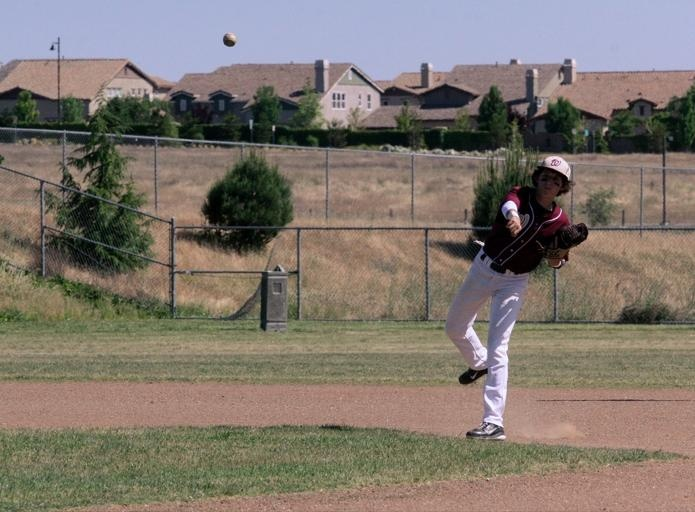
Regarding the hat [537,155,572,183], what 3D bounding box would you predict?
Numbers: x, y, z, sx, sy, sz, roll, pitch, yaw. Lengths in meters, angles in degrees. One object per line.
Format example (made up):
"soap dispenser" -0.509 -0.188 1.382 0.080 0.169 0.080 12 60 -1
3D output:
"hat" 5.292 -2.174 44.106 0.815 0.680 0.604 2 15 7
